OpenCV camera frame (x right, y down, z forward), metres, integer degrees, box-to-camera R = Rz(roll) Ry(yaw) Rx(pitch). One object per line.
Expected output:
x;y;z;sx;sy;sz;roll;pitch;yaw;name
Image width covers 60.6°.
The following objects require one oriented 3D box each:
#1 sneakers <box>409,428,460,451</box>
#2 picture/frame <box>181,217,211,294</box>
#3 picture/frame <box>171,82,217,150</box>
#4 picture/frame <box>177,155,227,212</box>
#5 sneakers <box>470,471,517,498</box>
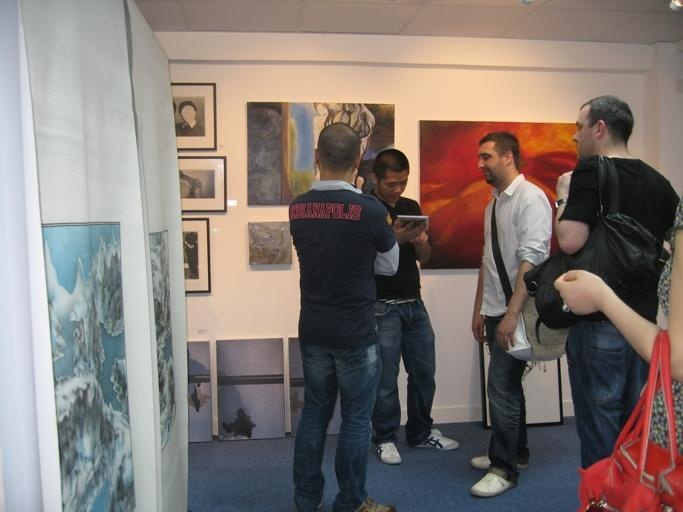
0.628;1.229;3.942;0.320;0.146;0.123;-1;-1;5;sneakers
-1.013;-0.010;4.159;0.012;0.519;0.354;-2;1;-31;picture/frame
-1.076;-0.971;4.119;0.400;0.454;0.012;2;9;7;picture/frame
-0.968;-0.515;4.037;0.457;0.518;0.036;0;2;-7;picture/frame
0.857;1.266;3.283;0.259;0.106;0.104;2;-9;-32;sneakers
